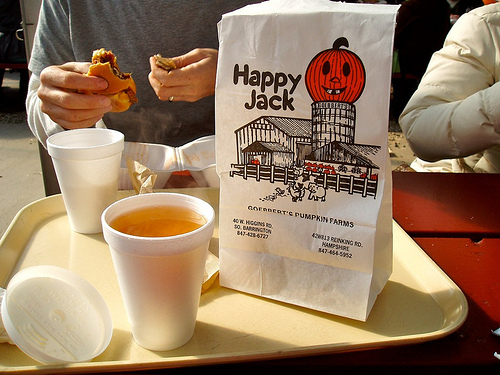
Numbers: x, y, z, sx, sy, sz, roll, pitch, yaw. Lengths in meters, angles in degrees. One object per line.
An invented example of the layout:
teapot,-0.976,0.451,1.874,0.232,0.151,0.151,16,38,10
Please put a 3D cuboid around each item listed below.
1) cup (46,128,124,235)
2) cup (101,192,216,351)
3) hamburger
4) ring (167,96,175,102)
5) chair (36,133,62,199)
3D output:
cup,-0.392,0.002,0.931,0.167,0.203,0.170,2,6,0
cup,-0.147,0.144,0.667,0.179,0.198,0.174,1,13,0
hamburger,-0.357,-0.285,1.061,0.060,0.166,0.128,13,43,33
ring,-0.208,-0.232,1.057,0.013,0.014,0.003,-10,32,-16
chair,-1.005,-0.112,2.010,0.117,0.101,0.415,-22,55,4
